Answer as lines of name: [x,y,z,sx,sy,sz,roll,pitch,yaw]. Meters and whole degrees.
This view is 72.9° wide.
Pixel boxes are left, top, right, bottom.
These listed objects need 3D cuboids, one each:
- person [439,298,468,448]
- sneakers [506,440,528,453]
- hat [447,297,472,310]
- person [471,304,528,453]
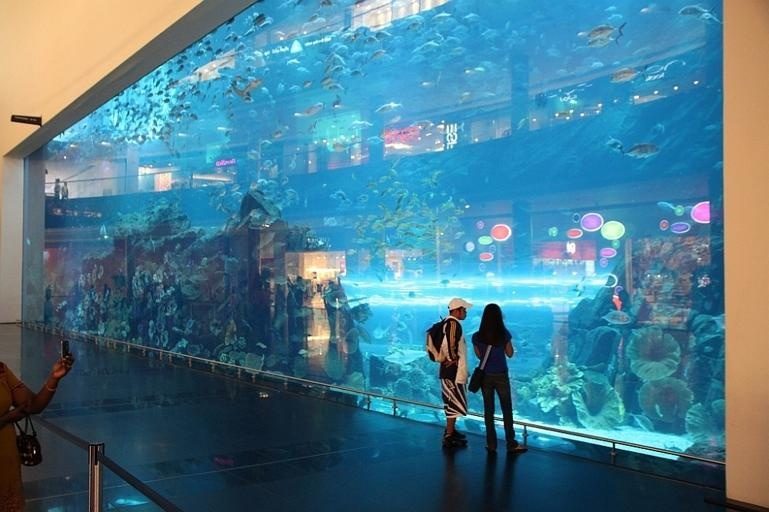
person: [1.152,1.905,8.610,0.469,2.390,0.425,0,1,-2]
sneakers: [2.145,3.022,8.290,0.379,0.185,0.167,0,0,-39]
hat: [1.258,0.799,8.678,0.343,0.151,0.229,-4,2,-12]
person: [1.801,1.944,8.406,0.805,2.341,0.581,1,1,14]
